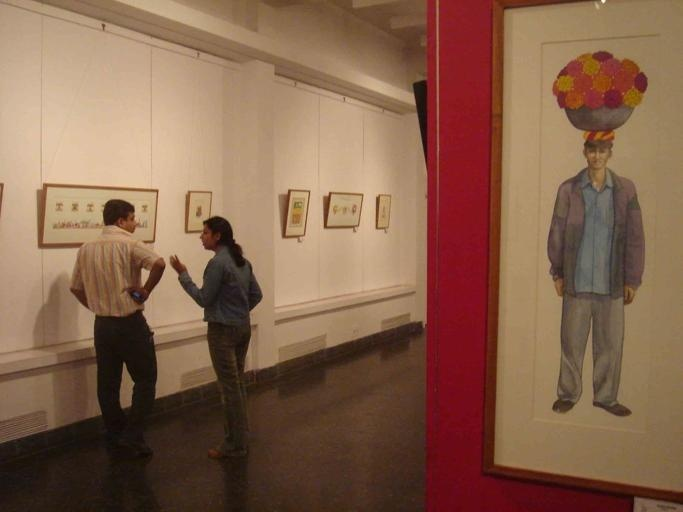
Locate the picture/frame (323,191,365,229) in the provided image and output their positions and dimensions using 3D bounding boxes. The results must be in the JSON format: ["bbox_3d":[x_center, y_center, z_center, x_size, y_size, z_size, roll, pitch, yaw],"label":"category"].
[{"bbox_3d":[0.010,-0.372,4.414,0.287,0.279,0.030,-4,30,-10],"label":"picture/frame"}]

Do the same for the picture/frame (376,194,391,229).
[{"bbox_3d":[0.307,-0.325,4.116,0.113,0.241,0.025,-2,10,-30],"label":"picture/frame"}]

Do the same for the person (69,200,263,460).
[{"bbox_3d":[-1.089,0.446,3.328,1.426,1.850,0.633,1,8,-6],"label":"person"}]

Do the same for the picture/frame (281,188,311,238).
[{"bbox_3d":[-0.351,-0.325,4.133,0.035,0.494,0.356,8,5,30],"label":"picture/frame"}]
